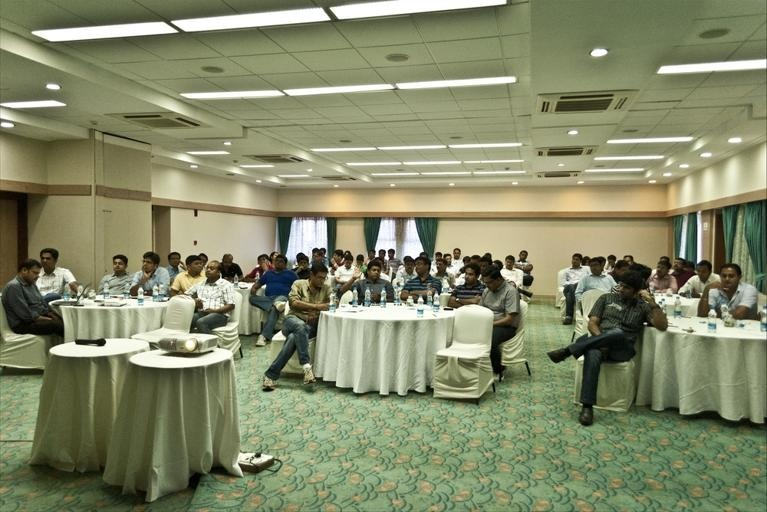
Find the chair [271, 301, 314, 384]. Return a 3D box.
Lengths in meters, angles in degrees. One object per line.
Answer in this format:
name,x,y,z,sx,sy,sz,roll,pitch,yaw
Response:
chair,-1.268,1.277,7.200,0.659,0.973,0.644,1,15,1

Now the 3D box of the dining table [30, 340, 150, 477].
dining table,-2.910,1.547,5.569,1.364,1.184,1.182,17,-6,-31

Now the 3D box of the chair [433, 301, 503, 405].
chair,1.100,1.323,6.930,0.737,1.176,0.751,5,15,18

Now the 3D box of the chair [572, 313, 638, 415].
chair,2.848,1.529,6.761,0.811,0.724,0.796,2,2,32

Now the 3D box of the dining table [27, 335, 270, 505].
dining table,-2.369,1.542,5.183,2.059,0.965,1.105,1,-1,6

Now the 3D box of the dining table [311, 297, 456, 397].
dining table,-0.078,1.199,7.397,1.406,0.683,1.508,-1,-3,41

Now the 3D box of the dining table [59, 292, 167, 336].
dining table,-3.881,0.921,8.009,1.012,0.336,0.981,3,-10,8

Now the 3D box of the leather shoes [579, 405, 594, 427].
leather shoes,2.439,1.891,6.252,0.161,0.196,0.319,6,15,22
